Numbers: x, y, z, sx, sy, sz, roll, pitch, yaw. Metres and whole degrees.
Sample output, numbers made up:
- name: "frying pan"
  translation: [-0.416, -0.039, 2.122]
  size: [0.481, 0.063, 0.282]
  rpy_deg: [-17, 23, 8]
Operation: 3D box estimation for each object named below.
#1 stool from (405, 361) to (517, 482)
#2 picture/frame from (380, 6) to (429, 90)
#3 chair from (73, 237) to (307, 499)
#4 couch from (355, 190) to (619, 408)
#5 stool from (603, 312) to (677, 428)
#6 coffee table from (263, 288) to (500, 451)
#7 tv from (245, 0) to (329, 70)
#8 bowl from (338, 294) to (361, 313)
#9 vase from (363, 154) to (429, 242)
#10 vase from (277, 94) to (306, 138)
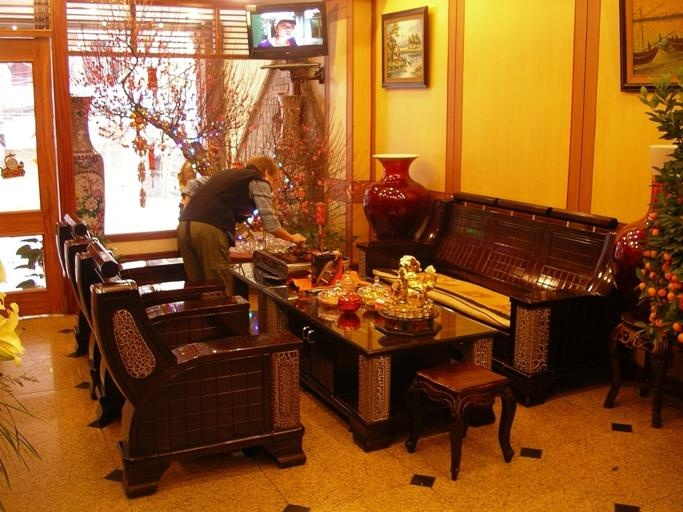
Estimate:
- name: "stool"
  translation: [0.709, 0.993, 3.331]
  size: [0.666, 0.503, 0.654]
  rpy_deg: [-1, -1, 18]
- name: "picture/frame"
  translation: [0.744, -2.390, 6.390]
  size: [0.169, 0.878, 0.861]
  rpy_deg: [-7, 15, -25]
- name: "chair"
  translation: [-0.982, 0.742, 3.635]
  size: [1.236, 1.343, 1.672]
  rpy_deg: [-4, 10, -21]
- name: "couch"
  translation: [1.250, 0.230, 4.985]
  size: [0.970, 1.229, 2.471]
  rpy_deg: [-4, 12, -23]
- name: "stool"
  translation: [2.204, 0.755, 3.842]
  size: [0.570, 0.643, 0.576]
  rpy_deg: [3, 6, 25]
- name: "coffee table"
  translation: [0.170, 0.710, 4.296]
  size: [1.113, 0.672, 1.890]
  rpy_deg: [-5, 11, -28]
- name: "tv"
  translation: [-0.669, -2.685, 6.618]
  size: [0.972, 0.673, 0.264]
  rpy_deg: [-1, 11, -1]
- name: "bowl"
  translation: [0.055, 0.328, 3.834]
  size: [0.132, 0.115, 0.131]
  rpy_deg: [0, 6, 0]
- name: "vase"
  translation: [0.530, -0.646, 5.993]
  size: [0.819, 0.960, 0.837]
  rpy_deg: [1, 6, -2]
- name: "vase"
  translation: [-0.655, -1.839, 7.206]
  size: [0.381, 0.592, 0.386]
  rpy_deg: [2, 25, 0]
